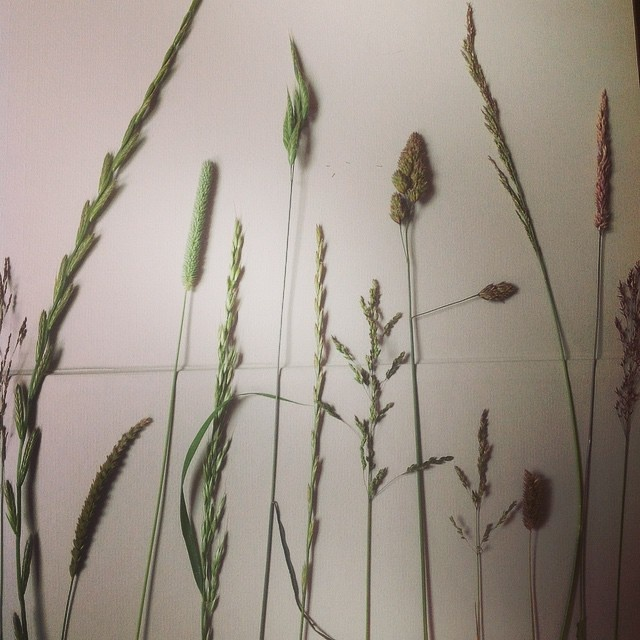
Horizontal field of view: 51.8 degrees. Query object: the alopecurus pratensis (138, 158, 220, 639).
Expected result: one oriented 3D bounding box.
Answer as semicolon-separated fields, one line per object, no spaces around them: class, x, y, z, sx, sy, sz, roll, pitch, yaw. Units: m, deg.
alopecurus pratensis;-0.286;0.205;1.339;0.025;0.944;0.037;6;-1;-5
